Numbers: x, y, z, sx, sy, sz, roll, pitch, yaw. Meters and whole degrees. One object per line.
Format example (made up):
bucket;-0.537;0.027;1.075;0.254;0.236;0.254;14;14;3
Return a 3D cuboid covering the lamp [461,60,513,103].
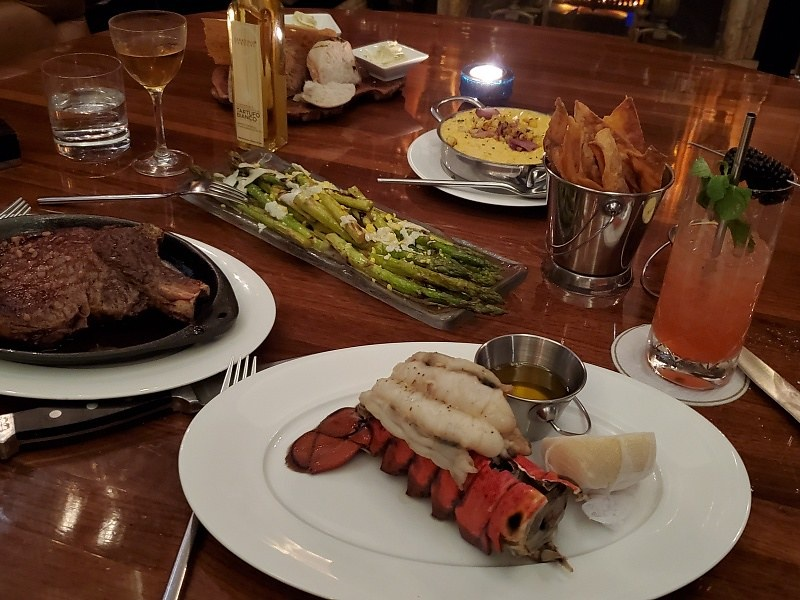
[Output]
lamp;0.385;-0.968;2.629;0.226;0.123;0.207;-2;37;-4

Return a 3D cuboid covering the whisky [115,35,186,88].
whisky;-0.879;-0.852;2.049;0.184;0.174;0.191;-2;26;-7

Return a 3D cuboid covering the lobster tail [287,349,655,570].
lobster tail;0.141;0.298;1.106;0.703;0.205;0.341;10;36;0

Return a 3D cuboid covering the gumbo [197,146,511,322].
gumbo;-0.130;-0.210;1.796;1.090;0.184;0.348;24;39;25
